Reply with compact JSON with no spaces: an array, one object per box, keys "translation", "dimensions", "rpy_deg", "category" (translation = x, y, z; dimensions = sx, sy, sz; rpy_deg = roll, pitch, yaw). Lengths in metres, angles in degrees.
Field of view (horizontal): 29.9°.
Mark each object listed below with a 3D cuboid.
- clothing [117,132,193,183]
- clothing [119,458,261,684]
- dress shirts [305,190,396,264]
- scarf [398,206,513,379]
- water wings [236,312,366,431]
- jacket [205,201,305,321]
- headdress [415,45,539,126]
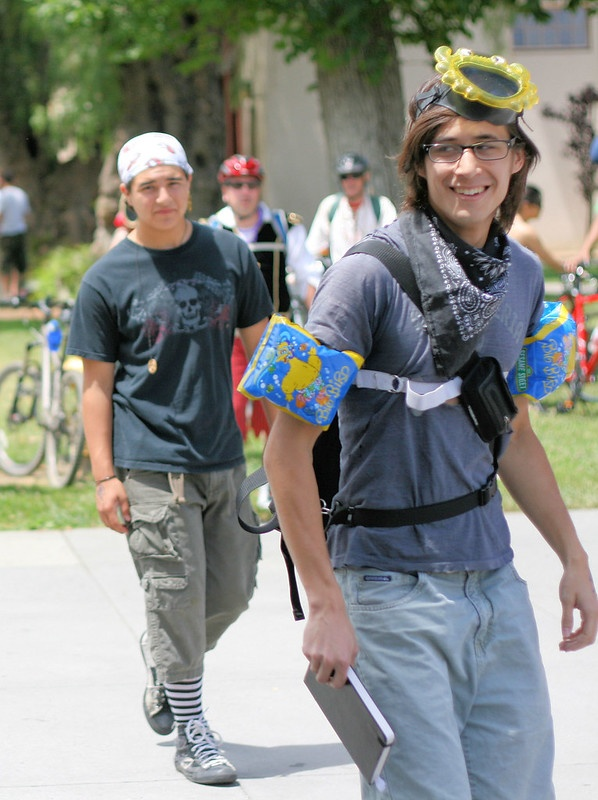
[{"translation":[-0.474,-0.762,3.554],"dimensions":[0.208,0.114,0.199],"rpy_deg":[-22,7,-29],"category":"clothing"},{"translation":[-0.302,0.526,3.440],"dimensions":[0.427,0.651,0.287],"rpy_deg":[-3,10,-21],"category":"clothing"},{"translation":[0.415,-1.246,8.188],"dimensions":[0.730,0.509,0.347],"rpy_deg":[2,24,8],"category":"dress shirts"},{"translation":[0.279,-0.192,2.119],"dimensions":[0.254,0.284,0.094],"rpy_deg":[13,-13,-17],"category":"scarf"},{"translation":[0.004,-0.052,2.040],"dimensions":[0.225,0.202,0.085],"rpy_deg":[0,9,0],"category":"water wings"},{"translation":[-0.327,-0.798,6.669],"dimensions":[0.831,0.707,0.434],"rpy_deg":[-2,0,1],"category":"jacket"},{"translation":[0.327,-0.589,2.187],"dimensions":[0.209,0.074,0.189],"rpy_deg":[22,46,12],"category":"headdress"}]
